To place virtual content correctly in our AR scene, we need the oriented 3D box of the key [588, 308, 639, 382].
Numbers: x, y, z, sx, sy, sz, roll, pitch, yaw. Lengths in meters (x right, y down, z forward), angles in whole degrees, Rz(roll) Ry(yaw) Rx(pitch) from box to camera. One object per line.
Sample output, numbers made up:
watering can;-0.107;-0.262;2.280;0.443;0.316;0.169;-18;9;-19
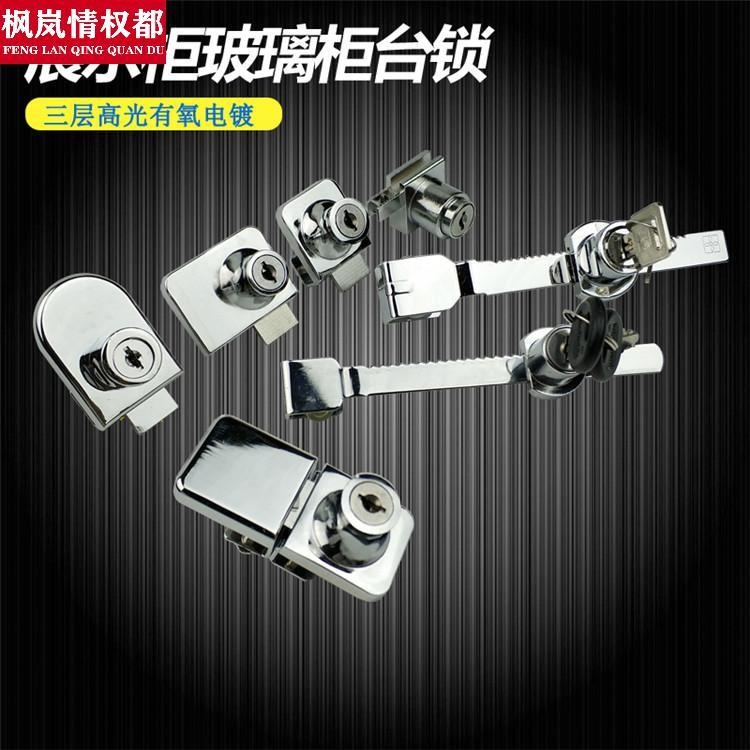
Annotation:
key;0.757;-0.101;2.897;0.162;0.200;0.059;15;-12;-17
